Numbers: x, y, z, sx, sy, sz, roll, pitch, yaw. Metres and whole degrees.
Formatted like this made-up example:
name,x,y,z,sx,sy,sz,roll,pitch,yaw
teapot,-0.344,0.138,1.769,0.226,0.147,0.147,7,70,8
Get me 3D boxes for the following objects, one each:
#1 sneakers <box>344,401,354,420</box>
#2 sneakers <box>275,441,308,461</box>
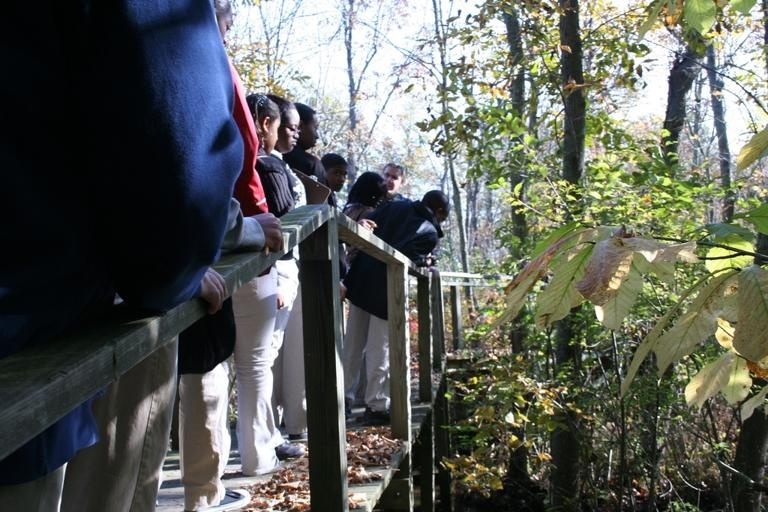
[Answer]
name,x,y,z,sx,sy,sz,roll,pitch,yaw
sneakers,-0.232,1.065,5.495,0.048,0.106,0.158,-4,-33,0
sneakers,-0.509,1.057,4.369,0.163,0.076,0.078,-3,23,-10
